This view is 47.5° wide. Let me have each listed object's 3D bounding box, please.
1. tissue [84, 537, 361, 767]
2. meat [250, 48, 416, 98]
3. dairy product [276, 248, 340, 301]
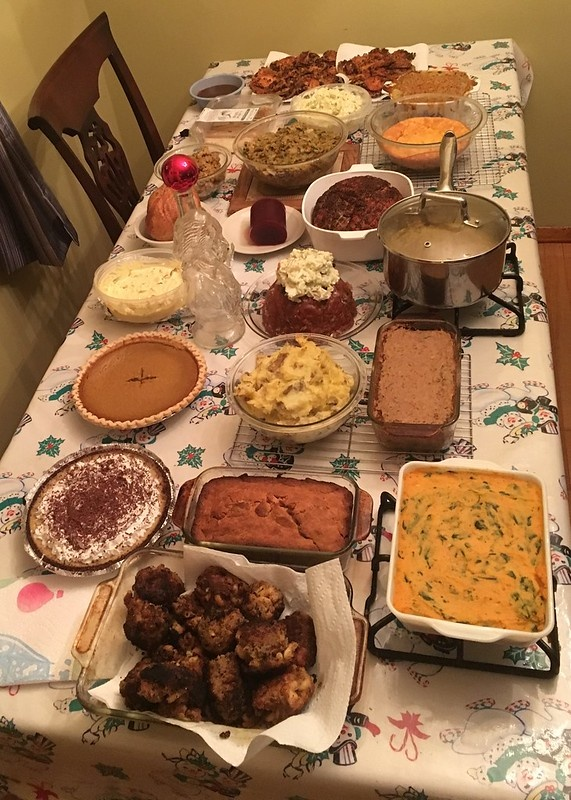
[{"bbox_3d":[-0.080,0.296,0.815,0.345,0.124,0.221,4,44,19],"label":"tissue"},{"bbox_3d":[0.160,-1.104,2.184,0.438,0.064,0.281,3,55,11],"label":"meat"},{"bbox_3d":[0.042,-0.249,1.344,0.113,0.050,0.108,-9,55,-5],"label":"dairy product"}]
